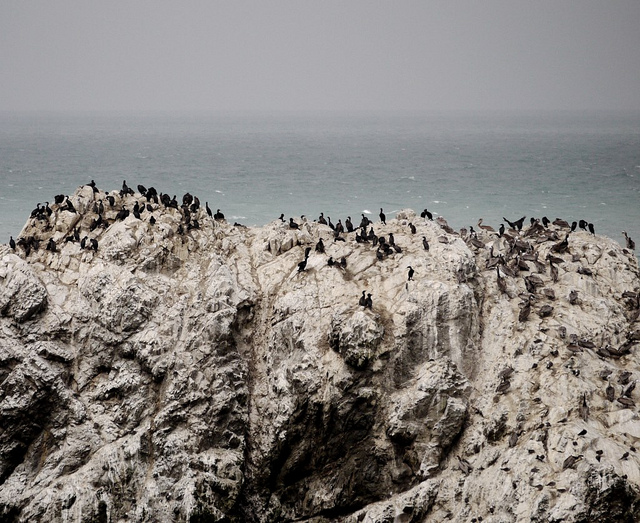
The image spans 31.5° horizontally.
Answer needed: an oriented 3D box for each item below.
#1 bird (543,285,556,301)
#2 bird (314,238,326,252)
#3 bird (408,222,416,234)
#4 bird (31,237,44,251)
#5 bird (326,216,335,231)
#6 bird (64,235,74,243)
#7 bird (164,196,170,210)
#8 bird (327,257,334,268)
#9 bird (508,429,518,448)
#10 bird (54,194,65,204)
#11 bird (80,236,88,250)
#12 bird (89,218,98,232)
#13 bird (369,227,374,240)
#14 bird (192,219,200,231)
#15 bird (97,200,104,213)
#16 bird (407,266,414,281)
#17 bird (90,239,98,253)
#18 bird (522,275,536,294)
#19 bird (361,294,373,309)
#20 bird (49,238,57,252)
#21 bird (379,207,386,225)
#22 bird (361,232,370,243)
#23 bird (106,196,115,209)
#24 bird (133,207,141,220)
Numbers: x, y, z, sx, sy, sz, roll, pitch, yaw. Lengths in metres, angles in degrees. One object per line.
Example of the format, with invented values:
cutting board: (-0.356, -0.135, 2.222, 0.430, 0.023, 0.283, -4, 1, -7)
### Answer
bird: (11.999, 1.739, 59.473, 0.438, 0.682, 0.162, -22, -11, -15)
bird: (0.083, -0.863, 62.268, 0.481, 0.674, 0.265, 25, 6, 23)
bird: (5.195, -1.838, 63.049, 0.356, 0.481, 0.594, 6, 20, 1)
bird: (-15.054, -0.977, 60.409, 0.567, 0.221, 0.625, 42, 22, 10)
bird: (0.764, -2.212, 69.108, 0.543, 0.309, 0.916, 8, 49, -15)
bird: (-13.343, -1.176, 60.898, 0.609, 0.290, 0.193, -21, -26, 38)
bird: (-8.520, -3.278, 63.597, 0.207, 0.695, 0.272, -12, -11, 37)
bird: (0.622, 0.040, 61.035, 0.305, 0.388, 0.491, -1, 22, -17)
bird: (9.353, 8.641, 54.918, 0.431, 0.697, 0.191, 19, -18, 47)
bird: (-14.335, -3.454, 62.828, 0.457, 0.571, 0.973, 0, 21, -15)
bird: (-12.503, -1.028, 60.368, 0.323, 0.557, 0.835, 1, 21, -12)
bird: (-12.181, -1.970, 61.648, 0.221, 0.325, 0.684, 32, 45, -12)
bird: (2.924, -1.532, 62.992, 0.169, 0.325, 0.569, 7, 55, -12)
bird: (-6.767, -2.021, 62.996, 0.219, 0.615, 0.237, -24, 19, -26)
bird: (-12.036, -3.016, 62.729, 0.262, 0.246, 0.699, -1, 37, -1)
bird: (4.804, 0.569, 59.465, 0.304, 0.553, 0.544, 8, 20, 5)
bird: (-11.903, -0.805, 60.141, 0.241, 0.607, 0.455, -6, 18, -10)
bird: (11.129, 1.289, 60.035, 0.329, 0.833, 0.563, -30, 22, 29)
bird: (2.466, 2.066, 57.791, 0.596, 0.651, 0.497, 4, 31, -14)
bird: (-14.089, -0.843, 60.303, 0.299, 0.460, 0.655, 0, 21, -16)
bird: (3.753, -2.469, 67.308, 0.324, 0.352, 1.279, 3, -23, 7)
bird: (2.539, -1.302, 62.993, 0.343, 0.597, 0.194, -4, -7, 2)
bird: (-11.588, -3.268, 63.329, 0.163, 0.626, 0.443, -13, 21, -41)
bird: (-9.935, -2.658, 62.056, 0.296, 0.408, 0.711, 1, 21, -12)
